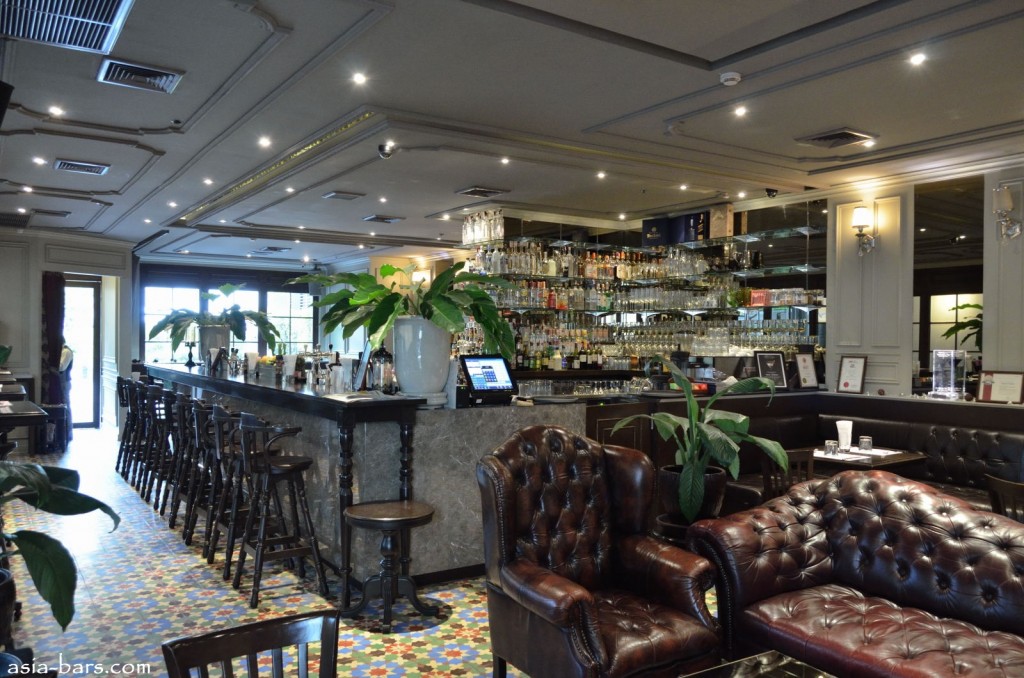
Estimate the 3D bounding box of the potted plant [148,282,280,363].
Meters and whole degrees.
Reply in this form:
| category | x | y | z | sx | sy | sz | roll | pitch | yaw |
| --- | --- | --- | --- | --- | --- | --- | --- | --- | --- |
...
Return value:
| category | x | y | z | sx | sy | sz | roll | pitch | yaw |
| --- | --- | --- | --- | --- | --- | --- | --- | --- | --- |
| potted plant | -4.101 | -0.155 | 9.671 | 1.469 | 0.847 | 1.361 | -1 | -7 | -24 |

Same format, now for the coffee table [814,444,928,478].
| category | x | y | z | sx | sy | sz | roll | pitch | yaw |
| --- | --- | --- | --- | --- | --- | --- | --- | --- | --- |
| coffee table | 3.041 | 1.028 | 5.981 | 0.673 | 0.147 | 0.636 | -3 | 4 | -32 |

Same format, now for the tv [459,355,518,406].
| category | x | y | z | sx | sy | sz | roll | pitch | yaw |
| --- | --- | --- | --- | --- | --- | --- | --- | --- | --- |
| tv | -0.216 | 0.341 | 5.766 | 0.422 | 0.357 | 0.160 | 4 | -12 | -30 |

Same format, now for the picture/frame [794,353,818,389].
| category | x | y | z | sx | sy | sz | roll | pitch | yaw |
| --- | --- | --- | --- | --- | --- | --- | --- | --- | --- |
| picture/frame | 3.176 | 0.348 | 7.622 | 0.419 | 0.436 | 0.031 | 1 | -13 | -36 |

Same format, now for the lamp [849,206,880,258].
| category | x | y | z | sx | sy | sz | roll | pitch | yaw |
| --- | --- | --- | --- | --- | --- | --- | --- | --- | --- |
| lamp | 3.950 | -1.232 | 7.959 | 0.265 | 0.550 | 0.312 | 0 | 0 | 42 |

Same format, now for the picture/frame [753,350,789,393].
| category | x | y | z | sx | sy | sz | roll | pitch | yaw |
| --- | --- | --- | --- | --- | --- | --- | --- | --- | --- |
| picture/frame | 2.604 | 0.334 | 7.077 | 0.465 | 0.473 | 0.036 | 2 | -16 | -19 |

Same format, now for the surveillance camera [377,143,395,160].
| category | x | y | z | sx | sy | sz | roll | pitch | yaw |
| --- | --- | --- | --- | --- | --- | --- | --- | --- | --- |
| surveillance camera | -1.213 | -1.824 | 6.805 | 0.124 | 0.083 | 0.120 | 6 | -9 | -35 |

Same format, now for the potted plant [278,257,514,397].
| category | x | y | z | sx | sy | sz | roll | pitch | yaw |
| --- | --- | --- | --- | --- | --- | --- | --- | --- | --- |
| potted plant | -0.782 | -0.106 | 6.034 | 1.563 | 1.097 | 1.433 | 0 | 0 | 0 |

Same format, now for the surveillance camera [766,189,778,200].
| category | x | y | z | sx | sy | sz | roll | pitch | yaw |
| --- | --- | --- | --- | --- | --- | --- | --- | --- | --- |
| surveillance camera | 3.139 | -1.763 | 8.494 | 0.098 | 0.099 | 0.167 | 6 | 4 | 28 |

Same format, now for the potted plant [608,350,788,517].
| category | x | y | z | sx | sy | sz | roll | pitch | yaw |
| --- | --- | --- | --- | --- | --- | --- | --- | --- | --- |
| potted plant | 1.354 | 0.772 | 5.191 | 1.328 | 1.178 | 0.972 | -6 | -3 | 25 |
